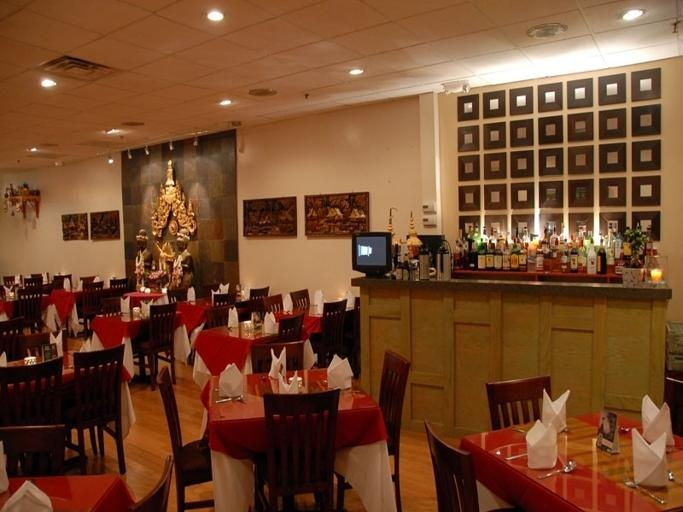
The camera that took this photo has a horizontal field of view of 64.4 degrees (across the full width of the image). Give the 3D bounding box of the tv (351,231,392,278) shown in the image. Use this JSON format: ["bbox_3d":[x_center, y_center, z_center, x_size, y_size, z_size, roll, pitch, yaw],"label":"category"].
[{"bbox_3d":[0.369,-0.015,6.449,0.429,0.494,0.241,2,-20,26],"label":"tv"}]

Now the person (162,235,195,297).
[{"bbox_3d":[-3.309,0.103,10.796,0.647,1.194,0.315,6,24,-14],"label":"person"}]

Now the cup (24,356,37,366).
[{"bbox_3d":[-2.931,0.991,5.112,0.103,0.083,0.110,0,-2,0],"label":"cup"}]

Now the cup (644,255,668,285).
[{"bbox_3d":[2.850,0.139,4.925,0.189,0.203,0.102,-2,0,22],"label":"cup"}]

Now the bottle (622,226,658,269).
[{"bbox_3d":[3.381,-0.082,6.140,0.335,0.614,0.380,-6,9,-40],"label":"bottle"}]

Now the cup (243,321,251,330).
[{"bbox_3d":[-1.157,0.853,6.683,0.060,0.088,0.115,-4,5,-21],"label":"cup"}]

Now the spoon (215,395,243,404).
[{"bbox_3d":[-0.901,1.153,4.366,0.176,0.061,0.030,-5,3,-38],"label":"spoon"}]
